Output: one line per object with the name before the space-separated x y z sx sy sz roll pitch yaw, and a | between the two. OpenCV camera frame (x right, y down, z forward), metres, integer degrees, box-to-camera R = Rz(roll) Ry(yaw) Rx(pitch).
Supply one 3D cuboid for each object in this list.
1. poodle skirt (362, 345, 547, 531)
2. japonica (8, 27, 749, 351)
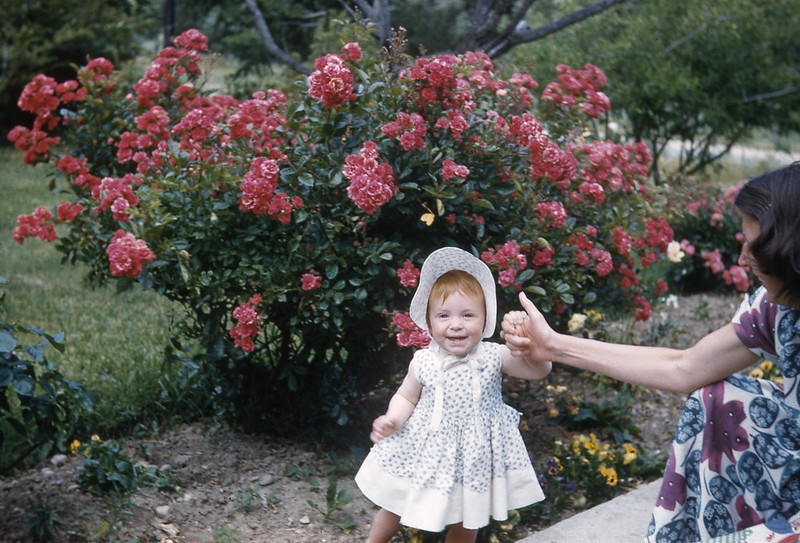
poodle skirt | 0.286 0.833 4.563 1.007 0.950 0.607 0 8 -4
japonica | -0.569 -0.755 6.559 3.911 2.232 5.102 13 12 42
